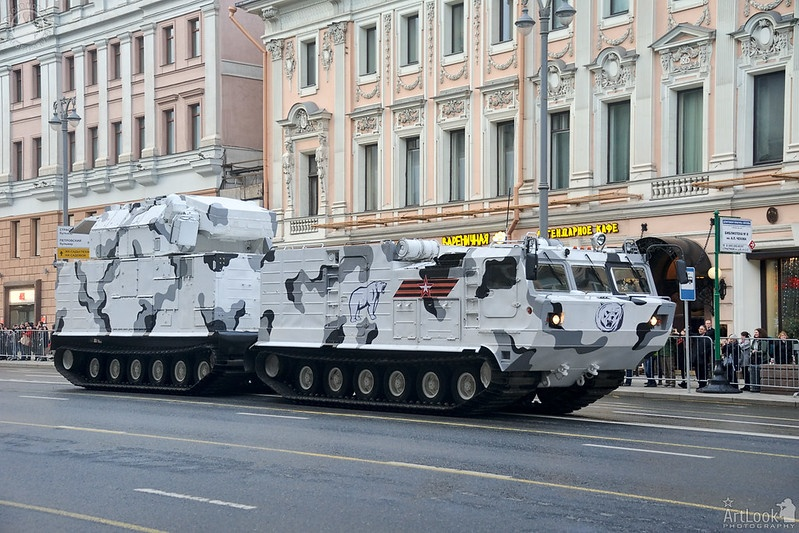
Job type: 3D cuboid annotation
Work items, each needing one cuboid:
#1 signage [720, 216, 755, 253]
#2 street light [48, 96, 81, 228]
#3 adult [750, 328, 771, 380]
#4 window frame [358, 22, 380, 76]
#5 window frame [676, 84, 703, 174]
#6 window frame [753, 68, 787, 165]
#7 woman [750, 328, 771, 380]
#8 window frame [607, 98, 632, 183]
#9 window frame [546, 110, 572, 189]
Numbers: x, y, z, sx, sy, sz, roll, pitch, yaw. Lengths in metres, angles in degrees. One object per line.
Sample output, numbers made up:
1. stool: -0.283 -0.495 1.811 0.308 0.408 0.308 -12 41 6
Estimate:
1. signage: 9.578 -0.873 32.608 1.029 0.968 0.150 2 -6 -32
2. street light: -15.151 -4.574 51.522 0.748 6.031 1.703 15 18 39
3. adult: 10.235 2.720 32.530 0.520 1.304 0.301 1 4 26
4. window frame: -1.253 -8.582 45.535 0.798 1.984 0.153 -1 -2 35
5. window frame: 9.405 -4.398 37.217 0.929 2.715 0.309 2 4 37
6. window frame: 11.426 -4.606 35.479 0.954 2.826 0.455 2 4 31
7. woman: 10.235 2.720 32.530 0.520 1.304 0.301 1 4 26
8. window frame: 7.397 -4.231 38.865 0.803 2.697 0.409 1 3 23
9. window frame: 5.663 -3.931 40.367 0.884 2.712 0.123 -7 15 -23
